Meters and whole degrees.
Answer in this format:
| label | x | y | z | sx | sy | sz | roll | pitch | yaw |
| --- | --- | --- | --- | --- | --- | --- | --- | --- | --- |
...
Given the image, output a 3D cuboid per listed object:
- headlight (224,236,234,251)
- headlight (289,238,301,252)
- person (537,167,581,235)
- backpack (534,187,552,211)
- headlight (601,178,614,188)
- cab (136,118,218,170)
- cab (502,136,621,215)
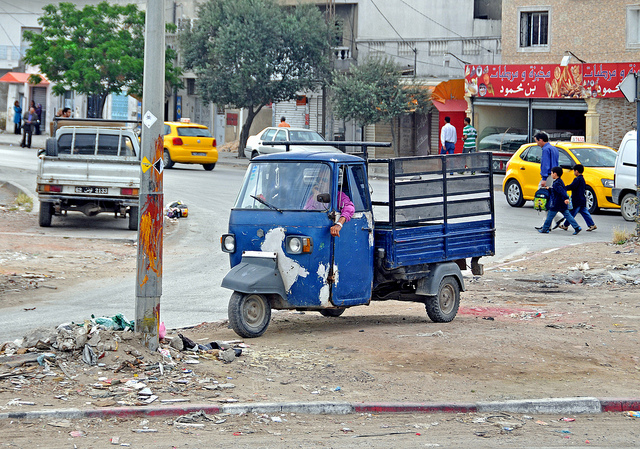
| label | x | y | z | sx | sy | sz | roll | pitch | yaw |
| --- | --- | --- | --- | --- | --- | --- | --- | --- | --- |
| headlight | -1.551 | 0.319 | 20.095 | 0.154 | 0.209 | 0.071 | 4 | 4 | 28 |
| headlight | -0.408 | 0.348 | 19.810 | 0.214 | 0.206 | 0.111 | 6 | 9 | 12 |
| person | 5.972 | -0.572 | 29.030 | 1.157 | 1.631 | 0.643 | 1 | -3 | 26 |
| backpack | 5.701 | -0.617 | 29.728 | 0.387 | 0.545 | 0.535 | 0 | 3 | 39 |
| headlight | 7.805 | -1.089 | 31.518 | 0.155 | 0.222 | 0.431 | -5 | 16 | -25 |
| cab | -4.804 | -3.039 | 43.743 | 3.282 | 1.442 | 1.337 | 1 | 1 | 37 |
| cab | 7.282 | -1.400 | 33.246 | 2.235 | 1.983 | 4.273 | -5 | 8 | -39 |
